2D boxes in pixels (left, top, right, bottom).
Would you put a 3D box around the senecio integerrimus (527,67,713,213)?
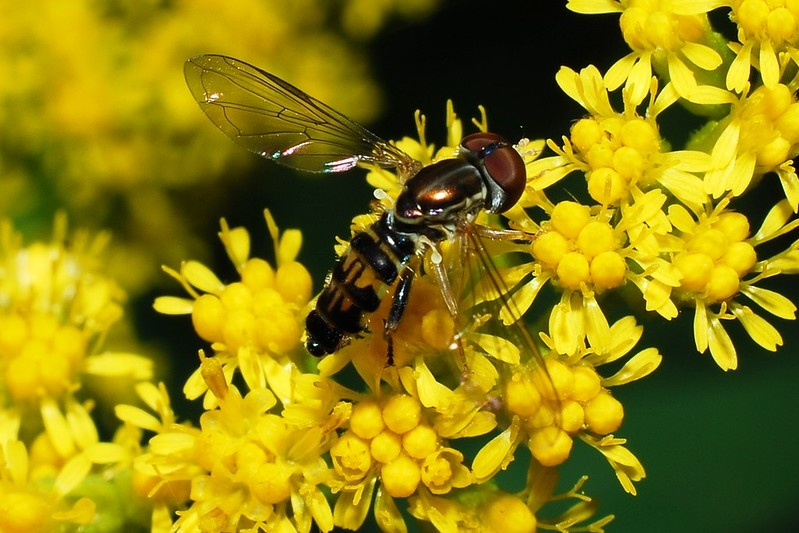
[{"bbox_3d":[0.528,-0.283,2.142,0.332,0.345,0.128,-33,-16,-1],"label":"senecio integerrimus"}]
